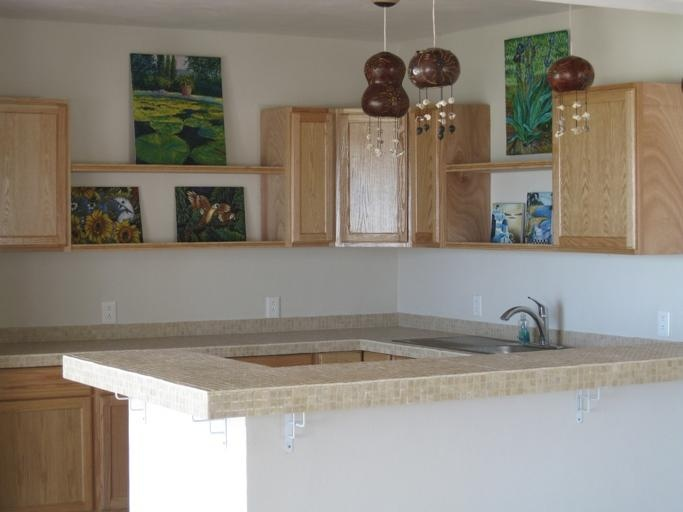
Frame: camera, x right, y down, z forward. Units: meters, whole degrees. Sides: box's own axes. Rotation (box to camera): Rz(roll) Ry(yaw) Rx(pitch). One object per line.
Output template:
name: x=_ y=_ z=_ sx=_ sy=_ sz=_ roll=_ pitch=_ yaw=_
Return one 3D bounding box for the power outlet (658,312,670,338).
power outlet: x=1.819 y=0.386 z=3.526 sx=0.061 sy=0.143 sz=0.022 roll=2 pitch=3 yaw=32

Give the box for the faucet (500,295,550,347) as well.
faucet: x=1.192 y=0.419 z=4.011 sx=0.278 sy=0.287 sz=0.468 roll=2 pitch=4 yaw=19

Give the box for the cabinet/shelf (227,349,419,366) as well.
cabinet/shelf: x=-0.154 y=0.661 z=4.080 sx=1.054 sy=0.095 sz=0.262 roll=1 pitch=3 yaw=0

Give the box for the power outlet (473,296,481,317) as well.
power outlet: x=0.974 y=0.353 z=4.472 sx=0.007 sy=0.153 sz=0.072 roll=-2 pitch=4 yaw=-42
